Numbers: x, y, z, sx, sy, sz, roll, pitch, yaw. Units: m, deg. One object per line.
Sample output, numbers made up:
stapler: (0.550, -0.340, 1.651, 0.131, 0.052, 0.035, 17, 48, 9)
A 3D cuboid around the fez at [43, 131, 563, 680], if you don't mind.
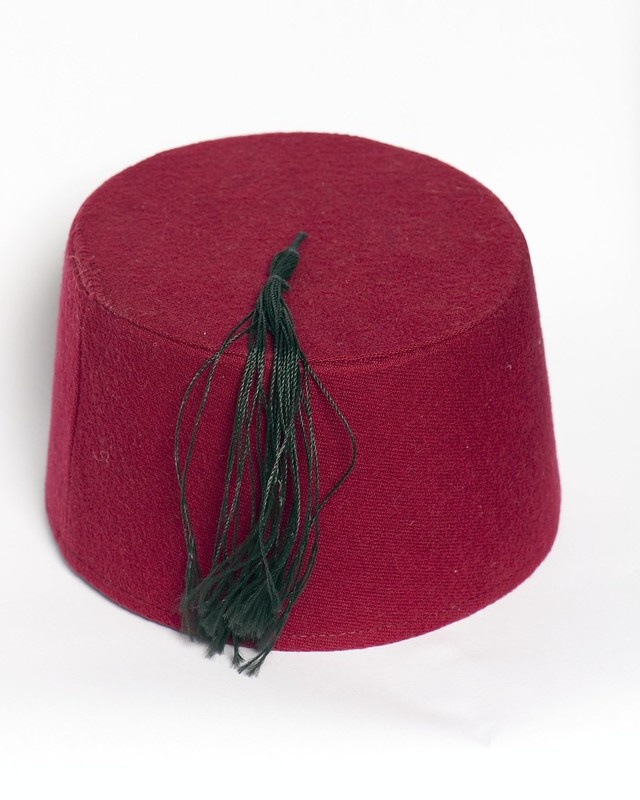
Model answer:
fez: (-0.014, -0.023, 1.265, 0.749, 0.349, 0.698, 14, 30, 30)
